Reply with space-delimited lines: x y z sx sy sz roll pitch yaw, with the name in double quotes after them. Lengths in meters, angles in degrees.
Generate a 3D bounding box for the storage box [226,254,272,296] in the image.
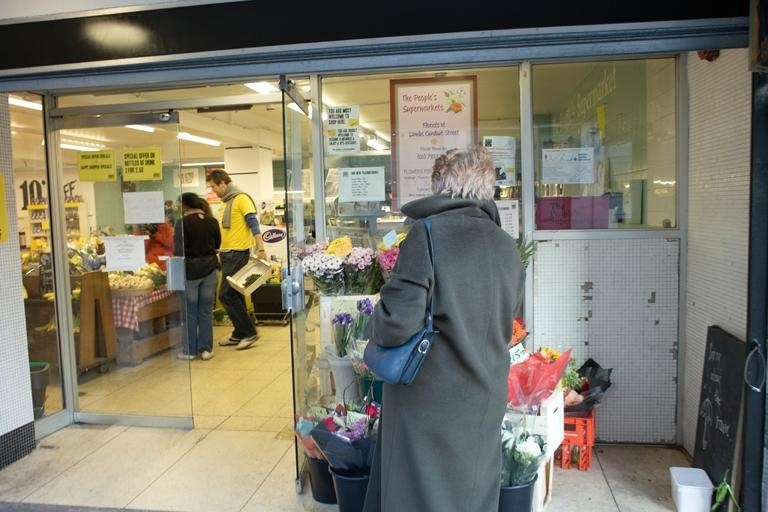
-1.733 0.242 7.467 0.404 0.554 0.167 34 -27 14 "storage box"

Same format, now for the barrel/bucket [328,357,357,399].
-0.284 0.890 4.413 0.279 0.369 0.282 -1 -1 0 "barrel/bucket"

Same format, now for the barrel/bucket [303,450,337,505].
-0.448 1.595 4.236 0.295 0.257 0.318 -1 -2 0 "barrel/bucket"

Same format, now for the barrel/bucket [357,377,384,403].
-0.089 0.935 4.130 0.177 0.135 0.181 1 -7 0 "barrel/bucket"

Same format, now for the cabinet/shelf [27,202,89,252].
-3.015 -0.277 5.269 0.512 0.448 0.204 -9 15 -26 "cabinet/shelf"

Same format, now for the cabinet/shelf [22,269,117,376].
-2.911 0.596 5.363 0.731 0.952 0.218 -4 14 -8 "cabinet/shelf"

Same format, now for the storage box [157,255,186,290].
-1.966 0.144 5.319 0.213 0.327 0.105 -6 14 -17 "storage box"

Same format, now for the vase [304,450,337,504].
-0.446 1.605 4.247 0.294 0.255 0.317 -1 -3 1 "vase"
